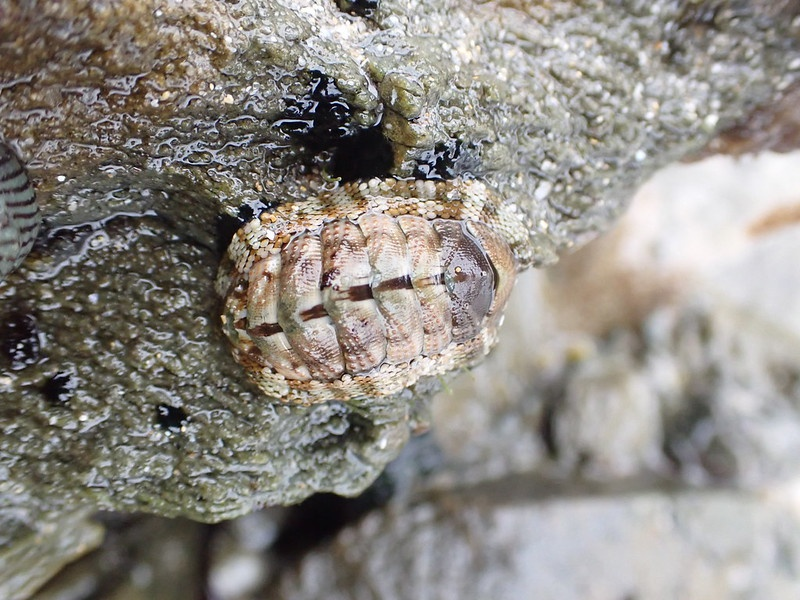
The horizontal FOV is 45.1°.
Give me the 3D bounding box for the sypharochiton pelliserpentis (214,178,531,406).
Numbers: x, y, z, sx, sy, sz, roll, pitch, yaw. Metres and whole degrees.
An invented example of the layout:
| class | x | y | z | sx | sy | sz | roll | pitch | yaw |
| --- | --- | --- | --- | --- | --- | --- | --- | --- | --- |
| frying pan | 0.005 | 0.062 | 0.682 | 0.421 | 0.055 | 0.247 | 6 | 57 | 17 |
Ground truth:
| class | x | y | z | sx | sy | sz | roll | pitch | yaw |
| --- | --- | --- | --- | --- | --- | --- | --- | --- | --- |
| sypharochiton pelliserpentis | -0.105 | -0.052 | 3.251 | 1.046 | 0.318 | 0.640 | -12 | 108 | -13 |
